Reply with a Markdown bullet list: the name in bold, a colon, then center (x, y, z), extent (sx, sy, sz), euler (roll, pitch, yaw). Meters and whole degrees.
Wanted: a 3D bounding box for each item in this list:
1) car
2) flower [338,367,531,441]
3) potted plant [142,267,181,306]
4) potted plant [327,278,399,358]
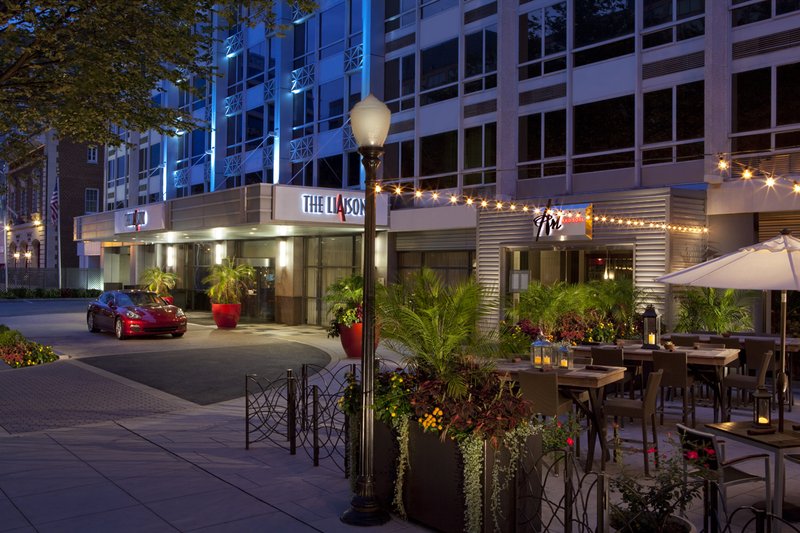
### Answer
- **car**: center (-10.136, 1.800, 24.698), extent (3.918, 1.774, 1.945), euler (-2, -2, 37)
- **flower**: center (0.740, 1.777, 8.452), extent (1.358, 0.544, 1.112), euler (2, -1, -27)
- **potted plant**: center (-12.353, 1.216, 33.216), extent (1.632, 1.835, 1.501), euler (-8, 5, 11)
- **potted plant**: center (-1.664, 1.475, 19.626), extent (2.206, 2.858, 2.528), euler (-1, -3, 21)
